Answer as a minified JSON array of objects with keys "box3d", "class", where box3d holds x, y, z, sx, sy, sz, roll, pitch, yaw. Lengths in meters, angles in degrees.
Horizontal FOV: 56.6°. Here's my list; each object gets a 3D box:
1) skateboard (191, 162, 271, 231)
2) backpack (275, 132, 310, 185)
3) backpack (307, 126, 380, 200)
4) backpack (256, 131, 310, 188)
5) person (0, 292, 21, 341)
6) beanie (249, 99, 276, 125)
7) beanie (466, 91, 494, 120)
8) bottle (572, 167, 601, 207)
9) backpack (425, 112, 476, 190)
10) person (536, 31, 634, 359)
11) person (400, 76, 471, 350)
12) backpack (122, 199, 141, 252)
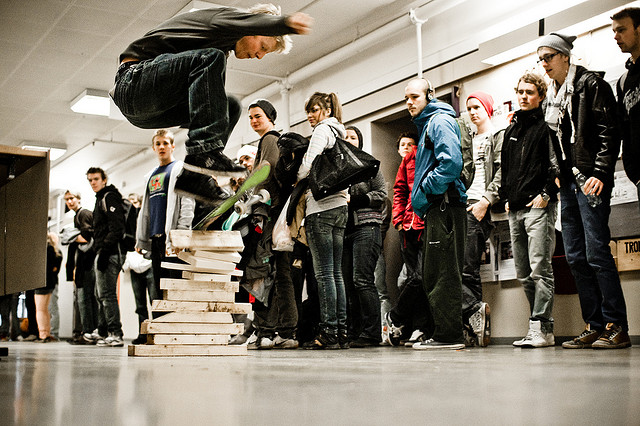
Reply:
[{"box3d":[-0.719,-0.130,4.840,0.794,0.113,0.214,-43,-20,7],"class":"skateboard"},{"box3d":[-0.280,-0.545,5.729,0.369,0.421,0.241,-5,-13,16],"class":"backpack"},{"box3d":[0.205,-0.469,5.351,0.620,0.706,0.195,0,-13,-6],"class":"backpack"},{"box3d":[-0.279,-0.521,5.673,0.551,0.551,0.435,-3,13,4],"class":"backpack"},{"box3d":[-6.109,2.074,11.736,0.411,0.884,0.903,5,-14,-25],"class":"person"},{"box3d":[-0.572,-1.058,6.081,0.174,0.290,0.300,-9,-15,31],"class":"beanie"},{"box3d":[1.776,-1.209,6.575,0.312,0.350,0.159,10,-17,-41],"class":"beanie"},{"box3d":[2.114,-0.221,4.738,0.166,0.345,0.091,-11,-16,38],"class":"bottle"},{"box3d":[1.339,-0.636,6.034,0.550,0.765,0.473,-23,21,-34],"class":"backpack"},{"box3d":[2.183,-0.268,4.890,0.495,2.702,0.596,-2,-13,2],"class":"person"},{"box3d":[0.957,-0.090,4.775,0.436,2.315,0.574,3,-13,-18],"class":"person"},{"box3d":[-2.546,0.144,7.921,0.201,0.785,0.674,3,-13,-18],"class":"backpack"}]
